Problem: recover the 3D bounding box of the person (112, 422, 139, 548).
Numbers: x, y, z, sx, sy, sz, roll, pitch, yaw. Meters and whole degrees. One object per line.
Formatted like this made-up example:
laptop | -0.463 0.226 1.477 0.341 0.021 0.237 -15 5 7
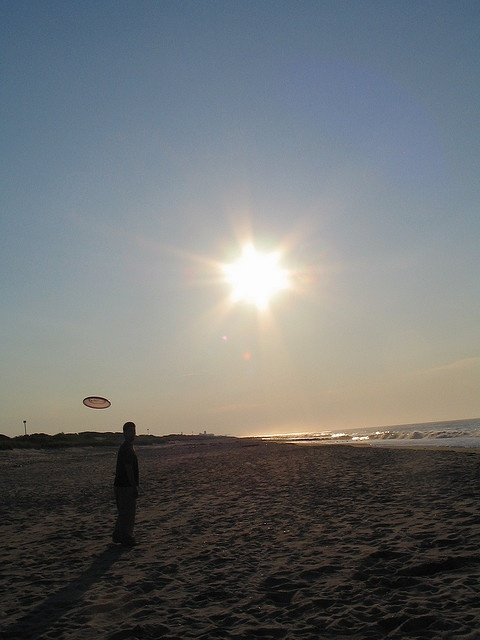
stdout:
person | -2.240 3.222 10.814 0.469 2.298 1.380 2 -13 -11
